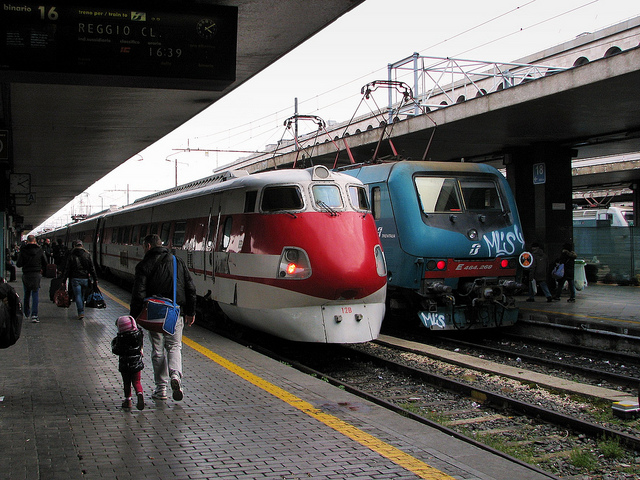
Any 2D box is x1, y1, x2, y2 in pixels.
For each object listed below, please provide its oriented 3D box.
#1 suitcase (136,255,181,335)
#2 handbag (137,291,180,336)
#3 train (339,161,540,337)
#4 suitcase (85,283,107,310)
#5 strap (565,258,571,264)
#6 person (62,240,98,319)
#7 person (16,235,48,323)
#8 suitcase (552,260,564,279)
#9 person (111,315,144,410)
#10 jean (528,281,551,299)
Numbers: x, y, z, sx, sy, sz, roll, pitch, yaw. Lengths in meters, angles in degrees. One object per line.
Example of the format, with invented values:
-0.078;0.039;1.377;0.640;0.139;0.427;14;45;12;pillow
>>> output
-1.927;0.900;5.549;0.519;0.931;0.436;4;-6;-21;suitcase
-1.960;0.928;5.639;0.550;0.455;0.264;8;7;16;handbag
2.395;-0.407;14.850;3.218;3.940;9.597;-2;7;-15;train
-5.788;1.423;11.816;0.553;0.463;0.340;1;-3;30;suitcase
8.173;0.686;15.179;0.028;0.201;0.027;26;12;-29;strap
-6.286;1.045;11.965;1.007;1.489;0.532;0;-4;45;person
-7.300;0.963;11.559;0.596;1.709;1.153;5;-3;-32;person
7.922;0.996;15.318;0.363;0.566;0.315;2;-3;14;suitcase
-2.250;1.435;5.412;0.415;0.702;0.373;4;-3;-12;person
7.294;1.678;15.630;0.705;0.634;0.286;-9;9;-23;jean
